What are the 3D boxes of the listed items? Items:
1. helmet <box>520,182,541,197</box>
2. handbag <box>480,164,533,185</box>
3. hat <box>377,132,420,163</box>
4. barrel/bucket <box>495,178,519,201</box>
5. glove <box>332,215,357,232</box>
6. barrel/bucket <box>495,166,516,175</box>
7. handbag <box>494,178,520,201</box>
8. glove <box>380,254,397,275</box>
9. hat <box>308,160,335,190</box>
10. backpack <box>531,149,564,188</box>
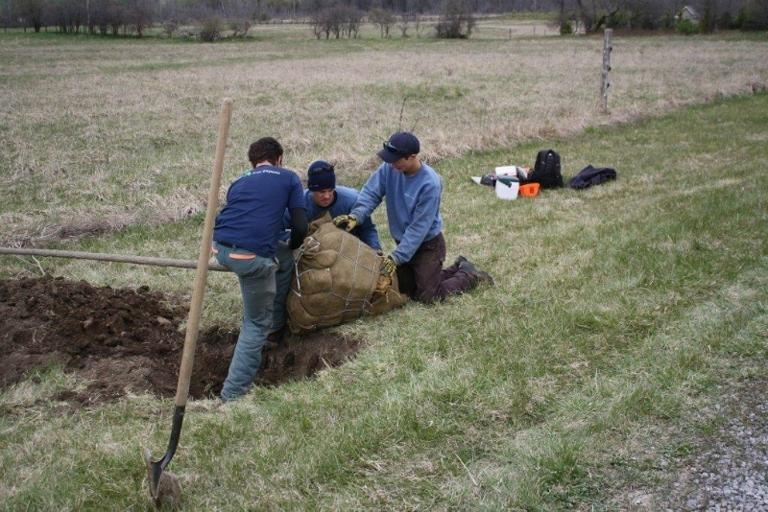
[{"bbox_3d":[3.020,-1.358,14.996,0.558,0.227,0.341,-12,22,-31],"label":"helmet"},{"bbox_3d":[2.582,-1.691,15.437,0.776,0.268,0.500,6,28,8],"label":"handbag"},{"bbox_3d":[0.199,-1.567,10.659,0.545,0.318,0.387,-18,49,-20],"label":"hat"},{"bbox_3d":[2.482,-1.332,14.781,0.413,0.397,0.437,3,-2,0],"label":"barrel/bucket"},{"bbox_3d":[-0.587,-0.476,10.821,0.353,0.234,0.168,-1,18,-1],"label":"glove"},{"bbox_3d":[2.566,-1.790,15.366,0.425,0.154,0.665,-1,19,-3],"label":"barrel/bucket"},{"bbox_3d":[2.474,-1.355,14.732,0.414,0.398,0.436,2,-2,8],"label":"handbag"},{"bbox_3d":[0.064,0.134,10.783,0.232,0.322,0.363,0,18,0],"label":"glove"},{"bbox_3d":[-0.957,-1.195,10.675,0.362,0.357,0.421,-33,25,-18],"label":"hat"},{"bbox_3d":[3.426,-1.840,15.357,0.708,0.823,0.400,4,18,12],"label":"backpack"}]
